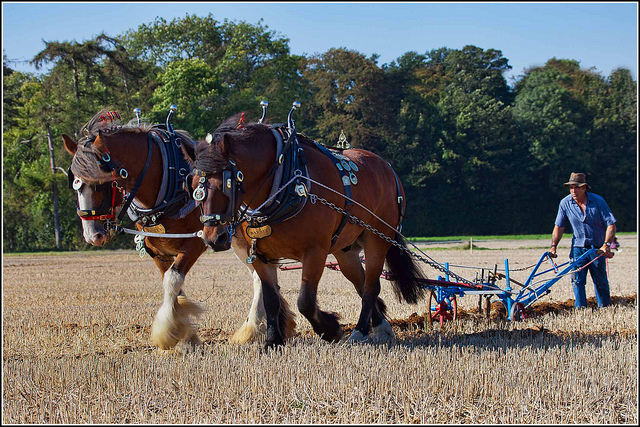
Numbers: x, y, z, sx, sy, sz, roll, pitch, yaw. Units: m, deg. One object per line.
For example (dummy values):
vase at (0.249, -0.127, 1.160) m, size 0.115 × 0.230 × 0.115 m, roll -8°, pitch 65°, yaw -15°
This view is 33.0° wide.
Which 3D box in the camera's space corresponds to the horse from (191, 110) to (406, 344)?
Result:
horse at (-0.675, 0.518, 32.412) m, size 5.948 × 6.586 × 2.376 m, roll -2°, pitch 14°, yaw -7°

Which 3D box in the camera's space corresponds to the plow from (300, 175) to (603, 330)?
plow at (5.298, 2.103, 34.520) m, size 6.203 × 2.351 × 2.247 m, roll 1°, pitch 8°, yaw 4°

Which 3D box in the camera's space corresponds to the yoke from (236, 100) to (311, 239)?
yoke at (-1.345, -1.283, 31.816) m, size 1.917 × 3.925 × 1.161 m, roll -5°, pitch 14°, yaw -18°

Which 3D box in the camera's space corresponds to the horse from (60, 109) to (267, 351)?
horse at (-4.213, 0.938, 34.855) m, size 3.207 × 6.882 × 10.335 m, roll -5°, pitch -4°, yaw 29°
